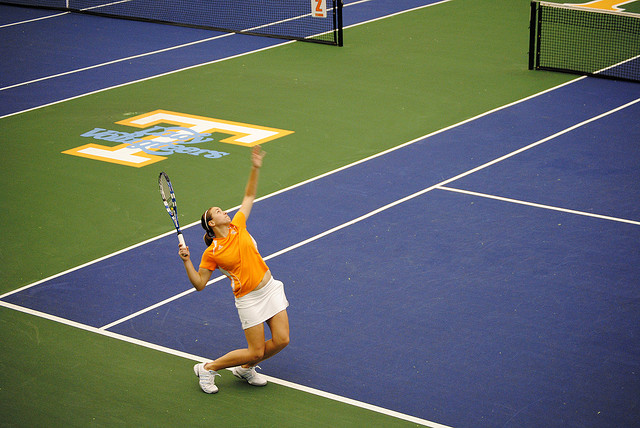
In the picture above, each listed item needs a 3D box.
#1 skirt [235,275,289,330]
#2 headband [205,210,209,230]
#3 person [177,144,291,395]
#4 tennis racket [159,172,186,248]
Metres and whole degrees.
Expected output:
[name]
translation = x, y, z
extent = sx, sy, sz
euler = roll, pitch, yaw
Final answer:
[skirt]
translation = -0.706, 1.044, 7.754
extent = 0.670, 0.510, 0.389
euler = -27, 3, -23
[headband]
translation = -1.332, 0.070, 7.651
extent = 0.035, 0.171, 0.081
euler = -6, 23, -10
[person]
translation = -1.013, 0.682, 8.146
extent = 1.199, 2.777, 1.518
euler = -4, 23, -4
[tennis racket]
translation = -2.435, -0.025, 10.759
extent = 0.410, 0.095, 1.817
euler = -16, 36, -1
